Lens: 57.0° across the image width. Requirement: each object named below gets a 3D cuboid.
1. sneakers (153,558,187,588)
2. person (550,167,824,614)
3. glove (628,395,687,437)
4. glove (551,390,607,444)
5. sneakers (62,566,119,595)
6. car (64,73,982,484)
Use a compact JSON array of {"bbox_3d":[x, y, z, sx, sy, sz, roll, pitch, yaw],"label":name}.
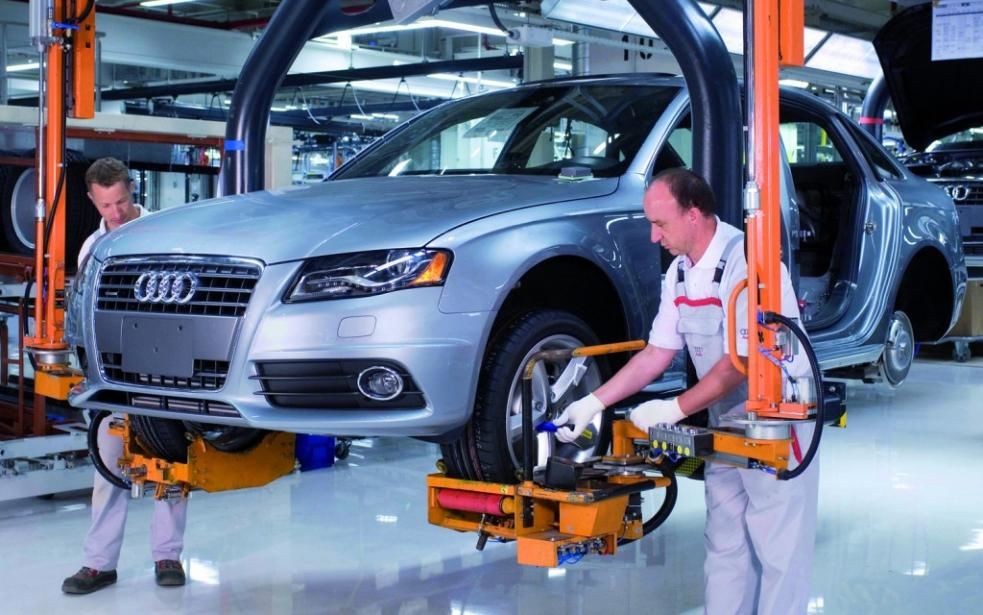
[{"bbox_3d":[-1.814,1.487,5.098,0.175,0.130,0.142,-3,10,-11],"label":"sneakers"},{"bbox_3d":[0.987,0.486,4.232,1.033,2.234,0.576,2,10,18],"label":"person"},{"bbox_3d":[0.756,0.488,4.114,0.180,0.164,0.258,-8,12,-39],"label":"glove"},{"bbox_3d":[0.397,0.510,4.227,0.094,0.260,0.193,41,12,-36],"label":"glove"},{"bbox_3d":[-2.241,1.526,5.095,0.110,0.114,0.287,2,-3,42],"label":"sneakers"},{"bbox_3d":[0.747,-0.327,5.910,5.733,1.812,2.296,-1,-1,-44],"label":"car"}]
